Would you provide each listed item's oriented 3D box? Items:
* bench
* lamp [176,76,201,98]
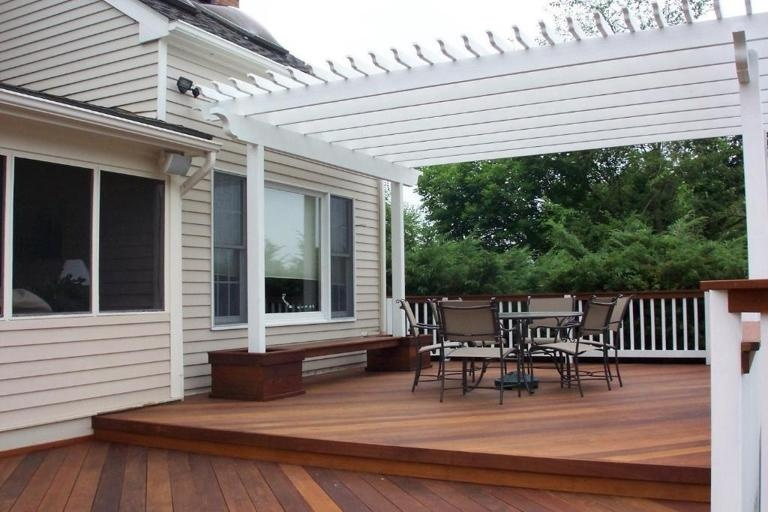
[{"bbox_3d":[-0.821,1.485,8.485,0.907,0.667,3.246,-2,-1,37],"label":"bench"},{"bbox_3d":[-2.478,-2.125,7.716,0.217,0.149,0.385,18,-8,-4],"label":"lamp"}]
